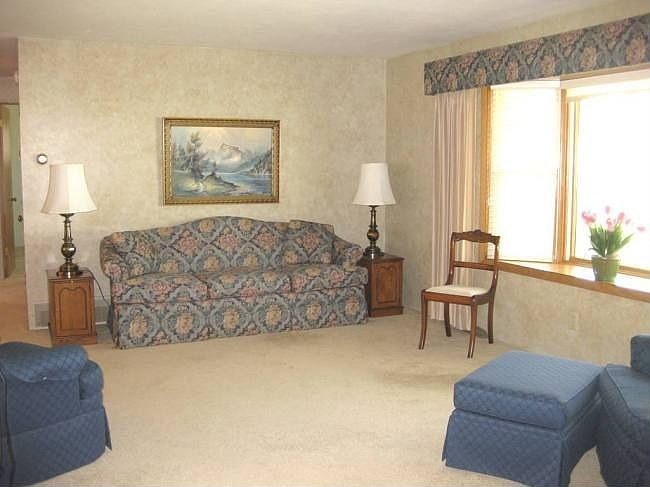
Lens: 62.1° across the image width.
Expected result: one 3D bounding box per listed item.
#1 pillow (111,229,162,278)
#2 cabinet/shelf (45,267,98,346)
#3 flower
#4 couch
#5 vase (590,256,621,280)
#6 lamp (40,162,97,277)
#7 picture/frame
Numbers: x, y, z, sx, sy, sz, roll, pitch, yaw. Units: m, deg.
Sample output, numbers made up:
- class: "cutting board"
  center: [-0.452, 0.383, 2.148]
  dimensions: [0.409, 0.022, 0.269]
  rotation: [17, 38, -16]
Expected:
- class: "pillow"
  center: [-1.993, 0.078, 5.736]
  dimensions: [0.511, 0.470, 0.168]
  rotation: [-10, -12, -37]
- class: "cabinet/shelf"
  center: [-2.466, 0.661, 5.269]
  dimensions: [0.503, 0.728, 0.690]
  rotation: [-1, 3, -23]
- class: "flower"
  center: [2.463, -0.100, 4.716]
  dimensions: [0.431, 0.393, 0.484]
  rotation: [6, -2, 7]
- class: "couch"
  center: [-0.995, 0.372, 5.869]
  dimensions: [2.627, 1.142, 0.881]
  rotation: [-3, 7, -21]
- class: "vase"
  center: [2.306, 0.202, 4.466]
  dimensions: [0.202, 0.180, 0.206]
  rotation: [1, -1, 2]
- class: "lamp"
  center: [-2.582, -0.226, 5.333]
  dimensions: [0.434, 1.095, 0.599]
  rotation: [-7, 9, -39]
- class: "picture/frame"
  center: [-1.284, -0.988, 6.297]
  dimensions: [1.118, 0.754, 0.045]
  rotation: [-2, 8, -21]
